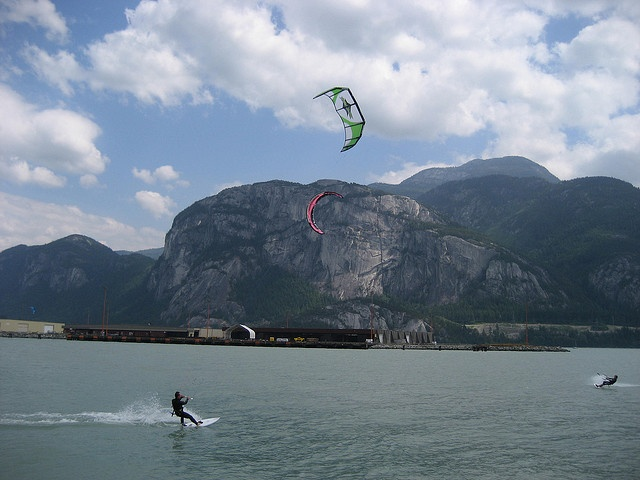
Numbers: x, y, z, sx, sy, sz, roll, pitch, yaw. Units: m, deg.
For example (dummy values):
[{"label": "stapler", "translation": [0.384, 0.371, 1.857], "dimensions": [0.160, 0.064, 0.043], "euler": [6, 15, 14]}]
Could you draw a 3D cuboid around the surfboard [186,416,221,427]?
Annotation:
[{"label": "surfboard", "translation": [-11.730, 18.410, 60.545], "dimensions": [3.126, 0.445, 0.974], "euler": [3, 4, -38]}]
